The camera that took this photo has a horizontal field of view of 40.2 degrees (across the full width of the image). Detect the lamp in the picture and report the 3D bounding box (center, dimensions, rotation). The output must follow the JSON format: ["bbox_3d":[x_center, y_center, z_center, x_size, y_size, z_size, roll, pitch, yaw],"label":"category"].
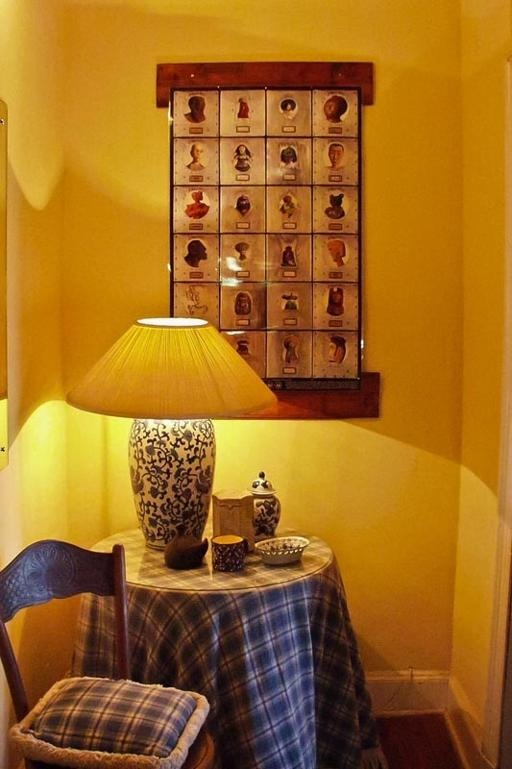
[{"bbox_3d":[-0.248,0.093,2.007,0.534,0.661,0.556,3,6,34],"label":"lamp"}]

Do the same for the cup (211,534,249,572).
[{"bbox_3d":[-0.064,0.430,1.760,0.060,0.064,0.081,-5,-7,26],"label":"cup"}]
